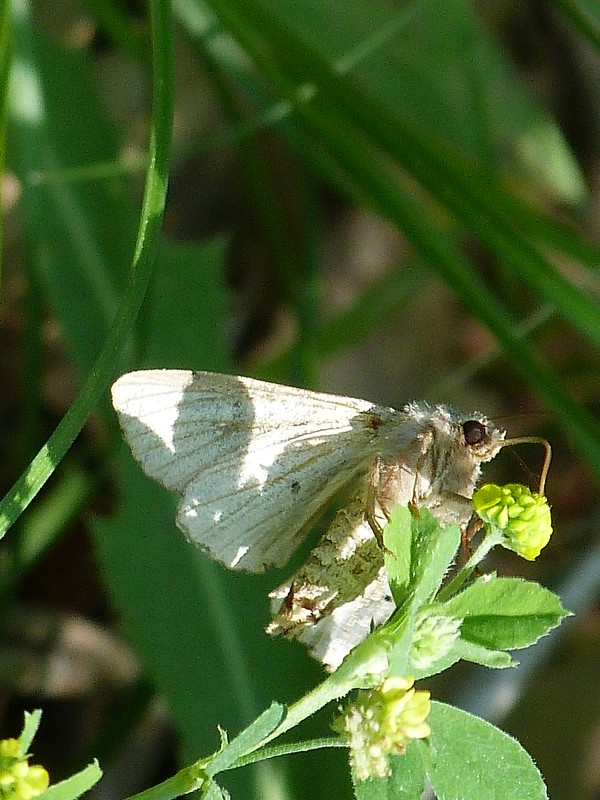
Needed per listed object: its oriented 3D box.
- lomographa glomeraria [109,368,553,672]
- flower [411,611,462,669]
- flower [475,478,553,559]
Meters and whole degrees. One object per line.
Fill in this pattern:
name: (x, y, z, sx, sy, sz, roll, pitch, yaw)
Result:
lomographa glomeraria: (-0.007, 0.033, 0.682, 0.229, 0.257, 0.115, -35, 19, -1)
flower: (0.060, 0.108, 0.445, 0.026, 0.022, 0.010, -53, 6, -9)
flower: (0.105, 0.057, 0.477, 0.035, 0.031, 0.033, 5, 36, 30)
